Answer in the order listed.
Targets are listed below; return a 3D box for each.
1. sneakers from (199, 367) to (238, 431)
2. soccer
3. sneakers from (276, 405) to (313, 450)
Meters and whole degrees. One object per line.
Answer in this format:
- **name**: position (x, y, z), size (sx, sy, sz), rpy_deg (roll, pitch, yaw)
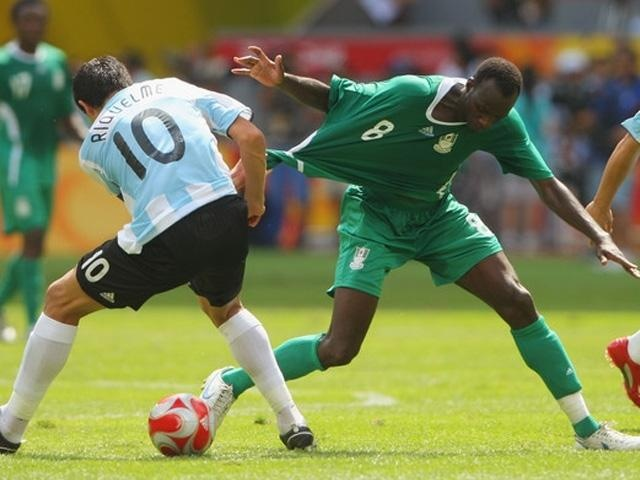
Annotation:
- **sneakers**: position (-0.595, 0.918, 4.891), size (0.172, 0.135, 0.400), rpy_deg (-17, 44, 18)
- **soccer**: position (-0.759, 1.022, 4.558), size (0.361, 0.324, 0.317), rpy_deg (-1, 14, -7)
- **sneakers**: position (-0.116, 1.052, 4.660), size (0.115, 0.225, 0.329), rpy_deg (-31, -9, 0)
